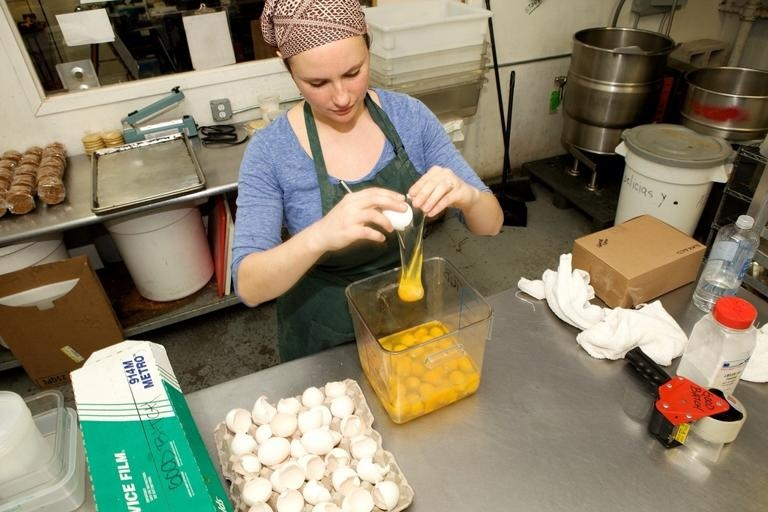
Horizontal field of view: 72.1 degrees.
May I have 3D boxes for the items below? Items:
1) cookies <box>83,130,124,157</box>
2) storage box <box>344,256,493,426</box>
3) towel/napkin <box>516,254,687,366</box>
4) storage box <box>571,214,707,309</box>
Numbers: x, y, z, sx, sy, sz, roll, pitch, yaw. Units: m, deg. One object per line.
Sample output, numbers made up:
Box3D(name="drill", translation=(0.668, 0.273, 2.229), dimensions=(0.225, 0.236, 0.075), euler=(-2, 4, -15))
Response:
Box3D(name="cookies", translation=(-1.631, -0.667, 3.104), dimensions=(0.201, 0.107, 0.143), euler=(-9, 37, -17))
Box3D(name="storage box", translation=(0.089, 0.270, 1.822), dimensions=(0.486, 0.525, 0.451), euler=(-3, 30, -14))
Box3D(name="towel/napkin", translation=(0.760, 0.195, 1.994), dimensions=(0.518, 0.346, 0.517), euler=(-1, 21, -10))
Box3D(name="storage box", translation=(0.937, 0.003, 1.980), dimensions=(0.451, 0.180, 0.315), euler=(-21, 45, -16))
